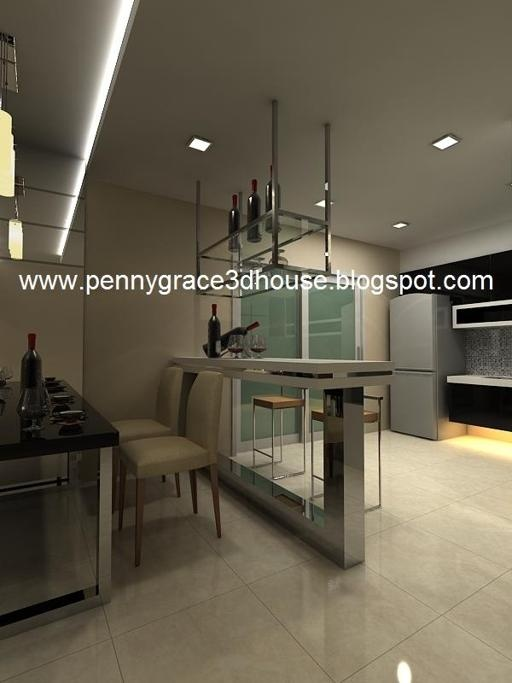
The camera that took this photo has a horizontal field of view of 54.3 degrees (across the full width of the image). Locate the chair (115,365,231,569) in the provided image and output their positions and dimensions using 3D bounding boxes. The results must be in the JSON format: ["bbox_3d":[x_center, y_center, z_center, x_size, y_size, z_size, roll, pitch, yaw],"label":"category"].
[{"bbox_3d":[-0.536,0.680,3.045,0.687,1.496,0.708,4,-5,-29],"label":"chair"}]

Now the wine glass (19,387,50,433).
[{"bbox_3d":[-0.933,0.272,2.080,0.109,0.216,0.117,7,19,-6],"label":"wine glass"}]

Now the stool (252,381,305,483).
[{"bbox_3d":[0.164,0.589,3.692,0.242,0.818,0.366,-4,5,-31],"label":"stool"}]

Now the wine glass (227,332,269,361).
[{"bbox_3d":[-0.054,0.022,3.495,0.253,0.321,0.153,3,3,17],"label":"wine glass"}]

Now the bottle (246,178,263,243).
[{"bbox_3d":[-0.011,-0.804,3.018,0.084,0.407,0.277,0,2,-1],"label":"bottle"}]

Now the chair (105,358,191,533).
[{"bbox_3d":[-0.760,0.616,3.384,0.436,0.917,0.462,1,-1,-21],"label":"chair"}]
